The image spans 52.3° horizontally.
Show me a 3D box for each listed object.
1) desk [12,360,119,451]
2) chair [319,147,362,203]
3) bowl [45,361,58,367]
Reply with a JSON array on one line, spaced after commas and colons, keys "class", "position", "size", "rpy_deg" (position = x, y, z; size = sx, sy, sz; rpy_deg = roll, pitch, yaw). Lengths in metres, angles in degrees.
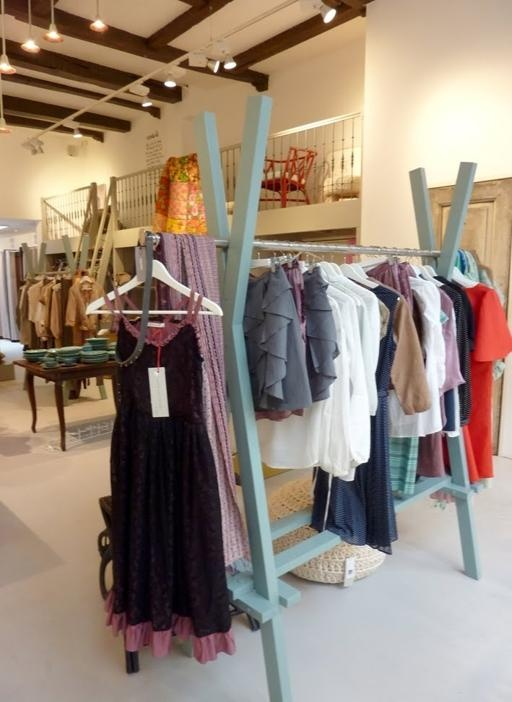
[{"class": "desk", "position": [-1.807, 0.404, 4.912], "size": [0.737, 0.722, 1.435], "rpy_deg": [-6, 10, -32]}, {"class": "chair", "position": [1.057, -2.260, 6.618], "size": [0.488, 0.761, 1.247], "rpy_deg": [1, 9, 9]}, {"class": "bowl", "position": [-1.680, 0.101, 4.286], "size": [0.089, 0.068, 0.087], "rpy_deg": [0, 9, 0]}]
